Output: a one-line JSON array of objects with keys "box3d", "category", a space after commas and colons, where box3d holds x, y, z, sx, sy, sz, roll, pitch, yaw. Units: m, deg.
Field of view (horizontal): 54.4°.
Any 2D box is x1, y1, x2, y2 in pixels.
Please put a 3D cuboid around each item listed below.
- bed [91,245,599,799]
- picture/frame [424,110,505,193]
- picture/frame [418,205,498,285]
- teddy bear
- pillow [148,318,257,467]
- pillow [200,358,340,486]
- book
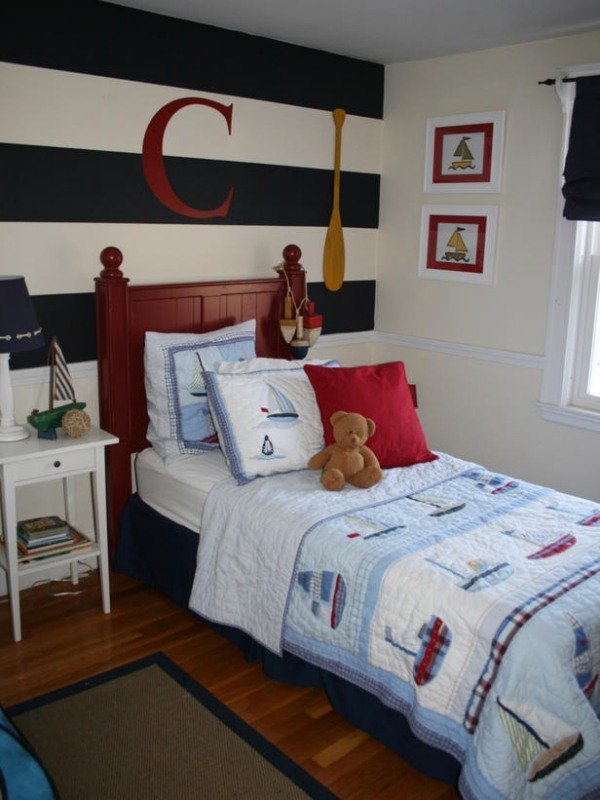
[{"box3d": [0.064, 0.038, 2.534, 1.249, 2.033, 1.613, -12, 18, -40], "category": "bed"}, {"box3d": [0.825, -1.259, 2.971, 0.019, 0.360, 0.457, -18, 27, -31], "category": "picture/frame"}, {"box3d": [0.838, -0.825, 3.054, 0.415, 0.530, 0.024, 8, 15, 37], "category": "picture/frame"}, {"box3d": [0.158, 0.169, 2.105, 0.247, 0.247, 0.285, 0, 7, -9], "category": "teddy bear"}, {"box3d": [-0.311, -0.051, 2.407, 0.529, 0.533, 0.187, -9, -3, 12], "category": "pillow"}, {"box3d": [-0.128, 0.070, 2.170, 0.455, 0.431, 0.134, -9, -12, -42], "category": "pillow"}, {"box3d": [-0.902, 0.502, 2.097, 0.183, 0.046, 0.184, -12, 24, -38], "category": "book"}]
